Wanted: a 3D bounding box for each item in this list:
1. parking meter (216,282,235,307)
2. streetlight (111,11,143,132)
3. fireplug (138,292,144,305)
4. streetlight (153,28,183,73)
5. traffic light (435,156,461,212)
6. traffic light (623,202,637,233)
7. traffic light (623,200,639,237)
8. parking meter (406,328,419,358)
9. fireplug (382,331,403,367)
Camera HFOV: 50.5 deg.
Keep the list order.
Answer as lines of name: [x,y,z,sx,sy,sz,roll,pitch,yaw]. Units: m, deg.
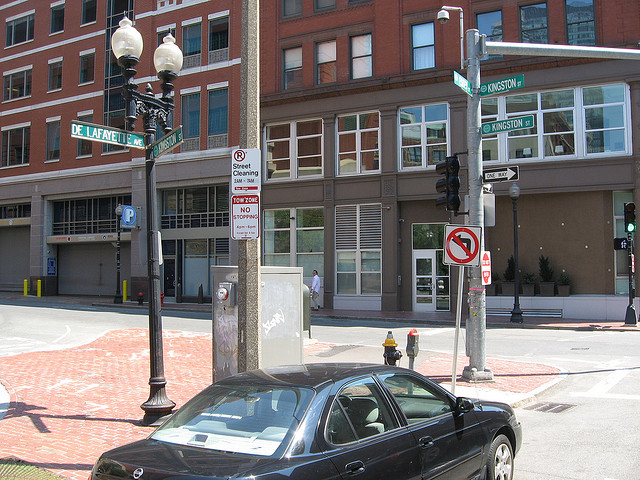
parking meter: [-1.832,1.040,13.192,0.232,0.453,0.440,3,-5,-40]
streetlight: [-3.832,-3.308,13.498,0.543,2.306,0.865,-1,6,-16]
fireplug: [-8.793,2.888,33.248,0.185,0.593,0.648,-1,6,-17]
streetlight: [-3.065,-3.858,13.753,0.600,0.931,0.613,2,-1,-30]
traffic light: [3.062,-1.352,16.316,0.558,1.363,1.919,2,6,10]
traffic light: [11.698,-0.854,25.657,0.411,1.129,0.895,3,7,25]
traffic light: [12.142,-0.786,26.399,0.516,1.402,2.602,4,7,26]
parking meter: [1.999,2.259,14.800,0.235,0.689,0.366,1,6,5]
fireplug: [1.543,2.427,14.564,0.441,0.912,0.427,5,15,28]
